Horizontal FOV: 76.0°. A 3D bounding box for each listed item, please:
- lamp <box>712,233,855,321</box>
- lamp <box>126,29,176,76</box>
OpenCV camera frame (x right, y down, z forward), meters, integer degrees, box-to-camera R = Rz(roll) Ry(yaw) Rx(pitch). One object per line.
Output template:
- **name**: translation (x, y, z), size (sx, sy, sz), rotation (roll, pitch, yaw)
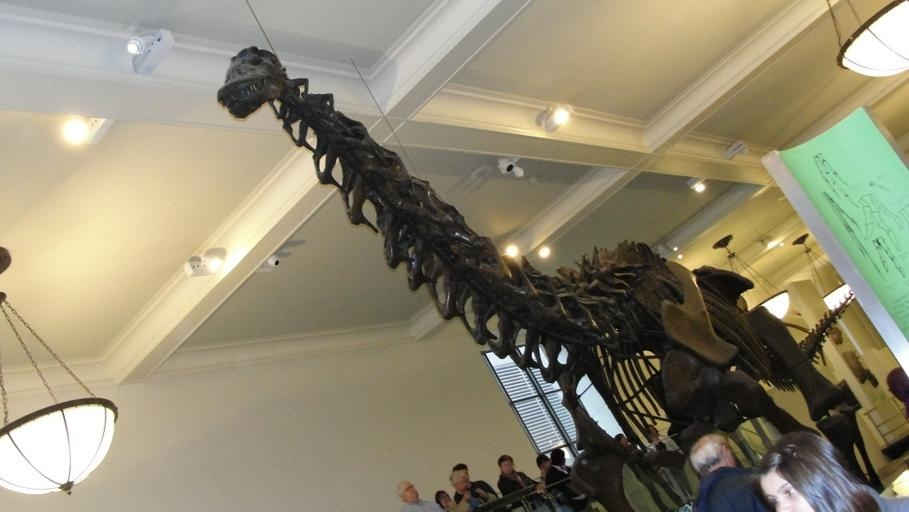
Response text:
- **lamp**: translation (6.155, 0.379, 10.972), size (1.492, 1.619, 1.520), rotation (-42, -1, -3)
- **lamp**: translation (-2.653, -1.785, 5.067), size (0.398, 0.249, 0.268), rotation (-15, -33, -13)
